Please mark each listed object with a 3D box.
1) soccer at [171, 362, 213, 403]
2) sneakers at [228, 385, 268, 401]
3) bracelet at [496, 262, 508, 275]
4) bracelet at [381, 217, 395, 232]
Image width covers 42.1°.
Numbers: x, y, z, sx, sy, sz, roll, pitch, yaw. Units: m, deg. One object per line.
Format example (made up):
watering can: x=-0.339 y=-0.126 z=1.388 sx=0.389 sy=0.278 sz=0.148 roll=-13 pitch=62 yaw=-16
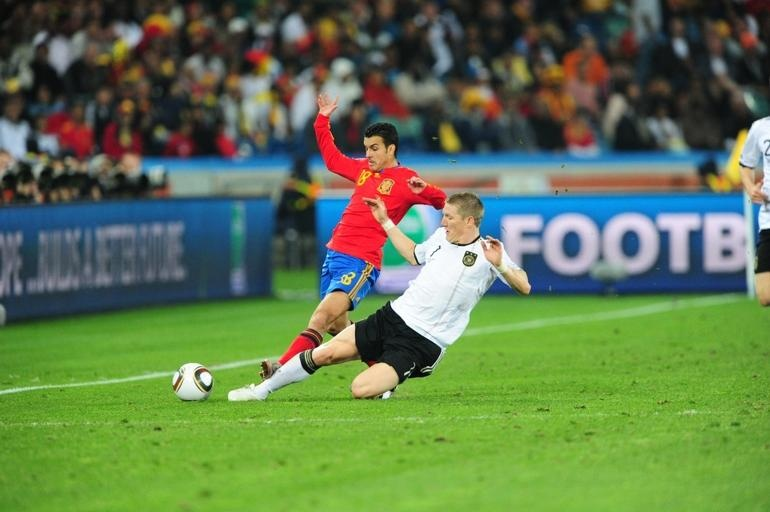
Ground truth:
soccer: x=-1.817 y=1.206 z=9.448 sx=0.345 sy=0.356 sz=0.337 roll=-15 pitch=-22 yaw=-9
sneakers: x=-1.294 y=1.296 z=9.351 sx=0.279 sy=0.125 sz=0.167 roll=2 pitch=-6 yaw=-2
bracelet: x=1.049 y=0.120 z=9.047 sx=0.079 sy=0.080 sz=0.082 roll=3 pitch=8 yaw=7
bracelet: x=0.021 y=-0.299 z=9.500 sx=0.115 sy=0.085 sz=0.113 roll=-13 pitch=14 yaw=-36
